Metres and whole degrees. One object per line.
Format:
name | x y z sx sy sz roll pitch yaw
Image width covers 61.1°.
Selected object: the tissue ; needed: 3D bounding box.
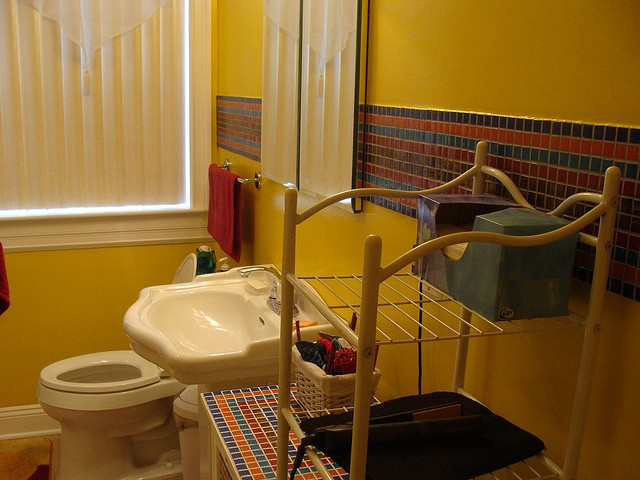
tissue  | 0.343 0.027 1.094 0.199 0.193 0.310 -10 19 -29
